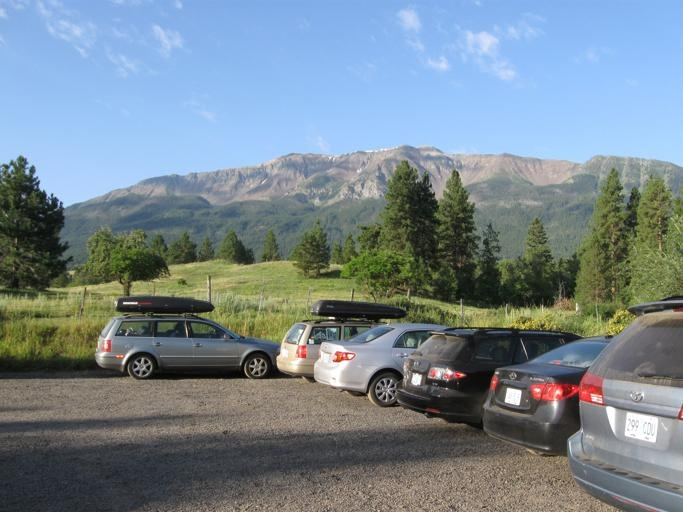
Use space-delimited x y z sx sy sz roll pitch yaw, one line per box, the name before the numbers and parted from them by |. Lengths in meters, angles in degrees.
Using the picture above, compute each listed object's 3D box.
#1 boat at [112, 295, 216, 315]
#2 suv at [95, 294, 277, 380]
boat | -5.210 1.406 15.789 2.072 0.409 1.074 3 -7 -19
suv | -4.430 2.303 16.520 4.861 2.307 3.762 0 0 -13
